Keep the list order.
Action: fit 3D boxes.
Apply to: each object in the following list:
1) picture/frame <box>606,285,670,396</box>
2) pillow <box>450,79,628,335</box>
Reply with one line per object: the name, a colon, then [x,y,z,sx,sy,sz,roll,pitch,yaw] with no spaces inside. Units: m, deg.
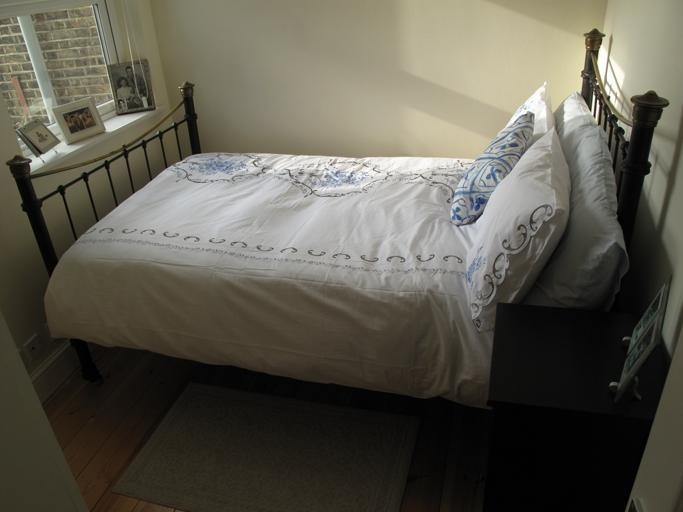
picture/frame: [0.766,0.225,1.197,0.058,0.164,0.233,25,64,24]
pillow: [0.706,-0.140,1.694,0.439,0.532,0.761,9,32,11]
